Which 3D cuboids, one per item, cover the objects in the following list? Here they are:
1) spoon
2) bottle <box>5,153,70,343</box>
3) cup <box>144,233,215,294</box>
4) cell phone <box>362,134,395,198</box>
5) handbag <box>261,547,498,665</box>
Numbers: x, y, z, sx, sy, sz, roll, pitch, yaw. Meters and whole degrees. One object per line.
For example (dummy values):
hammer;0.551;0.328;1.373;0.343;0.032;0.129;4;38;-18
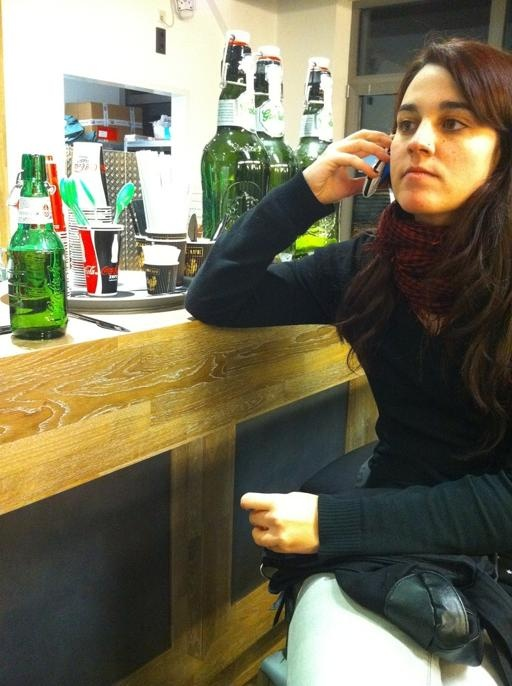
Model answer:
spoon;-0.289;-0.246;0.988;0.138;0.081;0.037;-17;9;14
bottle;-0.300;-0.125;0.745;0.082;0.240;0.073;-6;15;-18
cup;-0.152;-0.162;1.133;0.121;0.078;0.110;2;19;-1
cell phone;0.235;-0.336;1.067;0.034;0.102;0.047;6;-2;42
handbag;0.181;0.308;0.688;0.097;0.117;0.301;7;-18;32
